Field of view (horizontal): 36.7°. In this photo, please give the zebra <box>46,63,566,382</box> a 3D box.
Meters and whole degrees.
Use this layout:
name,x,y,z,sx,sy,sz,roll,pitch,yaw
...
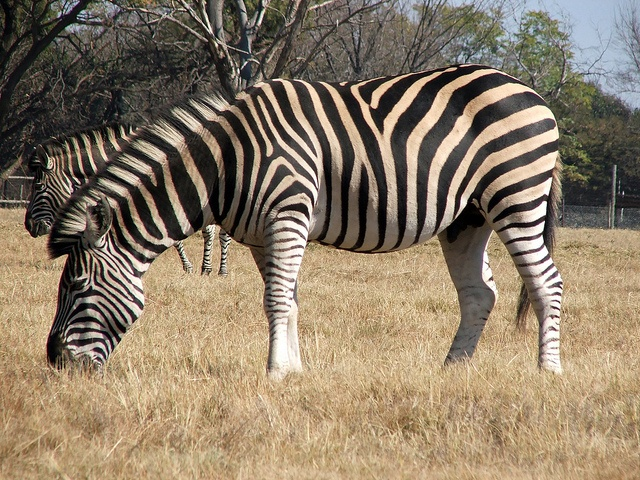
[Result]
name,x,y,z,sx,sy,sz,roll,pitch,yaw
zebra,-0.141,0.057,13.058,6.813,4.828,2.199,-1,5,-6
